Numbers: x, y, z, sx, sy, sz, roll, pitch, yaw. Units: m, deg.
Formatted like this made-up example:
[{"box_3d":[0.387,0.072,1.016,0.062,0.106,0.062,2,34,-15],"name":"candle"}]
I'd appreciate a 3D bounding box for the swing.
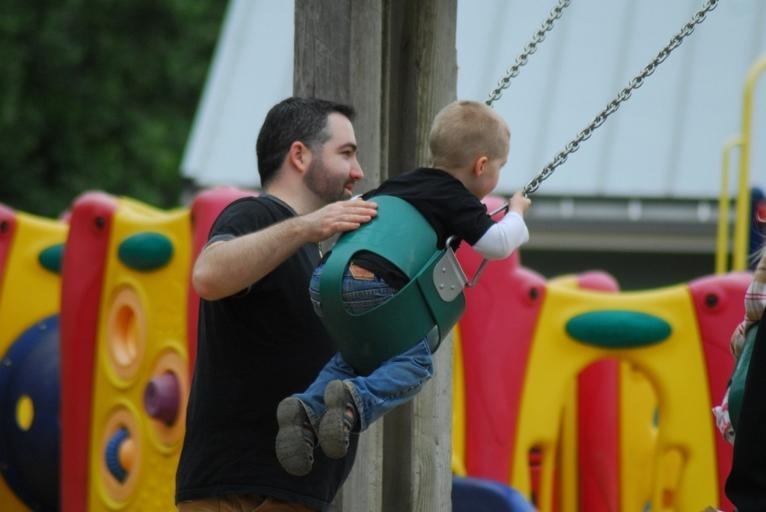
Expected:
[{"box_3d":[0.820,-0.209,14.617,2.279,4.895,1.310,39,2,36],"name":"swing"}]
